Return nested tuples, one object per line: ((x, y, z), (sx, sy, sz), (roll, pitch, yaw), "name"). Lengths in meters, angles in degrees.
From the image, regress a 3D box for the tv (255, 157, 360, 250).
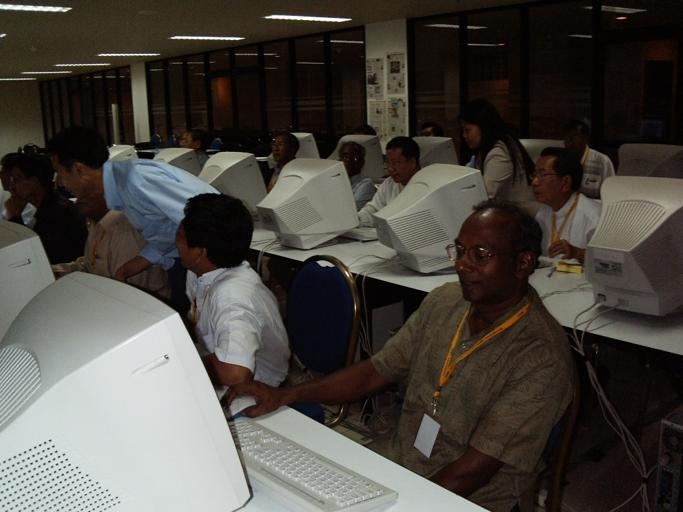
((-0.209, -0.354, 3.361), (0.645, 0.579, 0.635), (-13, 20, -36), "tv")

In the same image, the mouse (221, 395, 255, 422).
((-0.295, 0.442, 1.391), (0.062, 0.029, 0.103), (19, 37, 32), "mouse")

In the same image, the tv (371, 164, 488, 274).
((0.489, -0.248, 2.788), (0.611, 0.583, 0.598), (-18, 26, -22), "tv")

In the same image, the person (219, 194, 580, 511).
((0.122, 0.174, 1.766), (1.033, 1.384, 0.864), (6, 21, -17), "person")
